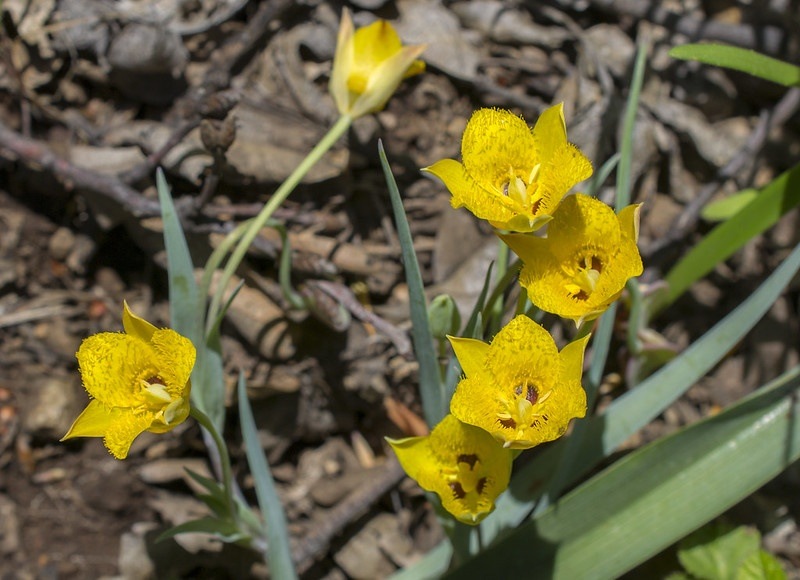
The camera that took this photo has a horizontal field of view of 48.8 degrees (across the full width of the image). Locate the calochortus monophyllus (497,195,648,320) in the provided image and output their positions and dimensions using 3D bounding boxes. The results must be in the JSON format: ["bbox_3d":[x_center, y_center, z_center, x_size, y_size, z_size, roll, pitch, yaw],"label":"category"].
[{"bbox_3d":[0.377,-0.065,2.003,0.340,0.315,0.175,0,49,-8],"label":"calochortus monophyllus"}]

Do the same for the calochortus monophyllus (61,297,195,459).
[{"bbox_3d":[-0.603,0.167,2.064,0.334,0.310,0.152,50,23,15],"label":"calochortus monophyllus"}]

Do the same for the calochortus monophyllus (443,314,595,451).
[{"bbox_3d":[0.260,0.201,1.867,0.345,0.156,0.389,5,27,27],"label":"calochortus monophyllus"}]

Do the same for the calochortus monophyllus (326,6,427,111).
[{"bbox_3d":[-0.064,-0.550,2.197,0.217,0.192,0.178,18,52,1],"label":"calochortus monophyllus"}]

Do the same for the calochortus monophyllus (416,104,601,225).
[{"bbox_3d":[0.267,-0.275,1.979,0.321,0.153,0.276,-33,60,-7],"label":"calochortus monophyllus"}]
